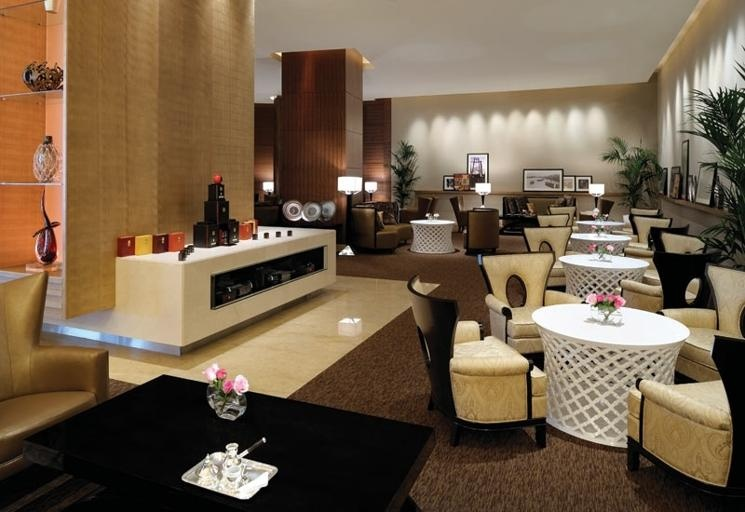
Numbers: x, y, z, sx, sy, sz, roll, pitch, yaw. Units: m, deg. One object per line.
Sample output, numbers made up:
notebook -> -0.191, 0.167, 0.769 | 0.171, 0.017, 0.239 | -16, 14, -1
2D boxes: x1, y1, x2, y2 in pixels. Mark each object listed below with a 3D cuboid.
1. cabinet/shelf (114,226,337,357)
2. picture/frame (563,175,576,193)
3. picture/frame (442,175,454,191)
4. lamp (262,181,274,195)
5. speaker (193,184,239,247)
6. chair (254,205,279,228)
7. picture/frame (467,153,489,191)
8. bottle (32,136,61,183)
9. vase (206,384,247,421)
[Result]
cabinet/shelf -> -1.552, 0.201, 6.293 | 0.823, 1.022, 3.296 | 7, 16, 29
picture/frame -> 6.383, -2.358, 15.709 | 0.465, 0.535, 0.037 | 9, 6, 19
picture/frame -> 2.637, -2.550, 16.797 | 0.495, 0.612, 0.060 | 3, 5, 27
lamp -> -3.767, -2.501, 17.593 | 0.408, 0.330, 1.108 | -4, 14, -12
speaker -> -1.943, -0.490, 5.955 | 0.327, 0.944, 0.777 | 0, 4, 21
chair -> -2.294, -0.893, 10.698 | 0.437, 0.575, 0.565 | 1, -1, 39
picture/frame -> 3.568, -2.902, 16.487 | 0.767, 1.132, 0.328 | 1, 13, 8
bottle -> -3.141, -0.929, 4.681 | 0.233, 0.428, 0.268 | -8, 15, -29
vase -> -0.878, 0.854, 2.891 | 0.204, 0.088, 0.175 | 3, 6, 21
